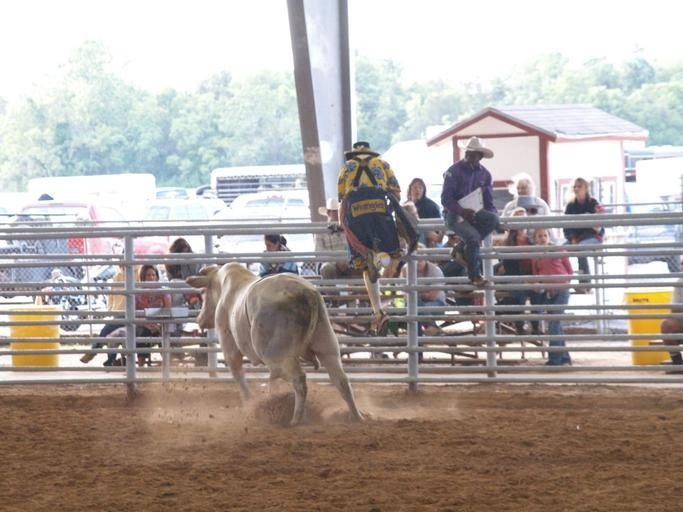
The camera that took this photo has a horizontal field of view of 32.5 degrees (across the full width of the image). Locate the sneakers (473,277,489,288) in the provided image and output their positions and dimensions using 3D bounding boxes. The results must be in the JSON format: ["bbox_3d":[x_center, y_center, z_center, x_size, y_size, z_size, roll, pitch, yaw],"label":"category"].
[{"bbox_3d":[2.414,0.457,20.419,0.269,0.171,0.141,-1,8,19],"label":"sneakers"}]

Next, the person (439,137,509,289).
[{"bbox_3d":[2.246,-0.791,20.633,0.982,2.256,0.509,-3,-1,-1],"label":"person"}]

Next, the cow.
[{"bbox_3d":[-1.196,1.404,19.455,2.391,2.105,0.969,-4,-1,34],"label":"cow"}]

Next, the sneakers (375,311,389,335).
[{"bbox_3d":[0.698,1.163,20.547,0.214,0.427,0.194,1,19,-2],"label":"sneakers"}]
